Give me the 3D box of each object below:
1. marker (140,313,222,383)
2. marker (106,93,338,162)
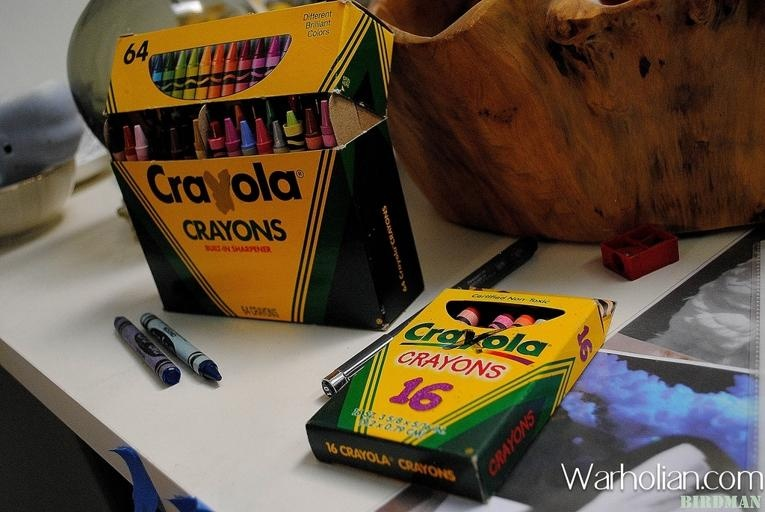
[{"bbox_3d":[-0.224,0.100,0.717,0.130,0.019,0.018,30,29,28],"label":"marker"},{"bbox_3d":[-0.178,-0.132,0.681,0.287,0.064,0.036,3,34,20],"label":"marker"}]
